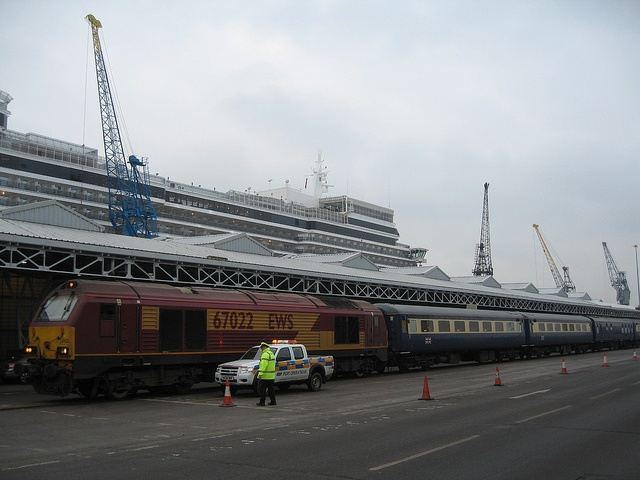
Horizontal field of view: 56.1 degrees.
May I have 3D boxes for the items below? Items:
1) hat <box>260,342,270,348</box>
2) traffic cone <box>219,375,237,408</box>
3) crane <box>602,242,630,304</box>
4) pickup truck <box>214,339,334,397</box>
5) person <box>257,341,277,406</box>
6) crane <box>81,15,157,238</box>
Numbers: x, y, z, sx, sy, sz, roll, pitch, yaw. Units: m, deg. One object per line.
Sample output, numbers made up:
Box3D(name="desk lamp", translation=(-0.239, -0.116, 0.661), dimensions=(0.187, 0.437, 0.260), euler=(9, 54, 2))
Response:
Box3D(name="hat", translation=(-1.949, 3.696, 21.118), dimensions=(0.258, 0.198, 0.351), euler=(-1, -11, 13))
Box3D(name="traffic cone", translation=(-3.222, 5.410, 21.240), dimensions=(0.724, 1.022, 0.722), euler=(-1, -3, 28))
Box3D(name="crane", translation=(67.309, 9.037, 136.037), dimensions=(3.410, 13.058, 19.583), euler=(-13, -45, 18))
Box3D(name="pickup truck", translation=(-1.839, 5.318, 24.876), dimensions=(2.055, 1.994, 4.677), euler=(-11, -16, 39))
Box3D(name="person", translation=(-1.873, 4.725, 21.137), dimensions=(0.621, 2.177, 1.409), euler=(0, -12, -6))
Box3D(name="crane", translation=(-25.769, -9.588, 75.833), dimensions=(6.211, 34.088, 9.822), euler=(-9, 17, -19))
